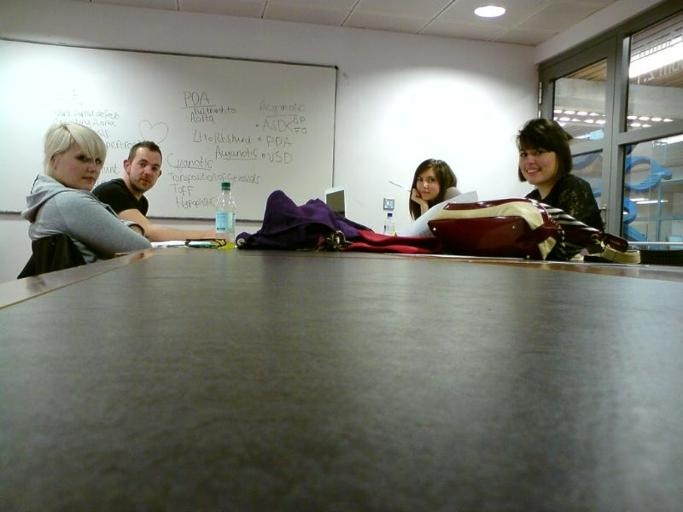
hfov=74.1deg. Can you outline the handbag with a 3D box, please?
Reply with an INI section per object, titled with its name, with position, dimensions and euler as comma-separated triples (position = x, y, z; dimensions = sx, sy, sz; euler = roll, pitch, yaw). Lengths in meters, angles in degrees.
[handbag]
position = 0.442, -0.054, 1.227
dimensions = 0.277, 0.109, 0.218
euler = -3, -4, 44
